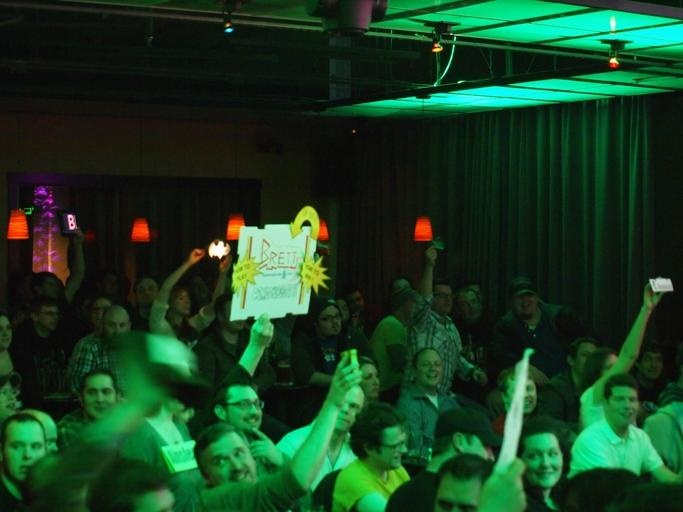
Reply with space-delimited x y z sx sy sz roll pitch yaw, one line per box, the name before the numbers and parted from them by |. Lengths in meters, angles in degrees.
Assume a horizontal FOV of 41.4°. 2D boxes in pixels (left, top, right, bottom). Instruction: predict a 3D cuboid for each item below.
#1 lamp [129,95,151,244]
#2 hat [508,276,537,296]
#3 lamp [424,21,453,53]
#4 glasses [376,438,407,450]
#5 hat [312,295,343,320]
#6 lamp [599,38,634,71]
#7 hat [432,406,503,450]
lamp | -2.534 -0.864 11.395 0.269 1.434 0.558 0 3 -13
hat | 1.742 0.287 8.803 0.202 0.155 0.293 -4 -15 1
lamp | 0.691 -1.546 6.398 0.173 0.171 0.157 0 2 -29
glasses | 0.271 1.076 5.174 0.155 0.048 0.152 -6 -6 30
hat | -0.128 0.437 7.599 0.204 0.198 0.187 -9 2 14
lamp | 2.052 -1.535 6.804 0.167 0.170 0.165 -4 8 -31
hat | 0.730 0.988 5.258 0.318 0.172 0.220 -3 0 -11
